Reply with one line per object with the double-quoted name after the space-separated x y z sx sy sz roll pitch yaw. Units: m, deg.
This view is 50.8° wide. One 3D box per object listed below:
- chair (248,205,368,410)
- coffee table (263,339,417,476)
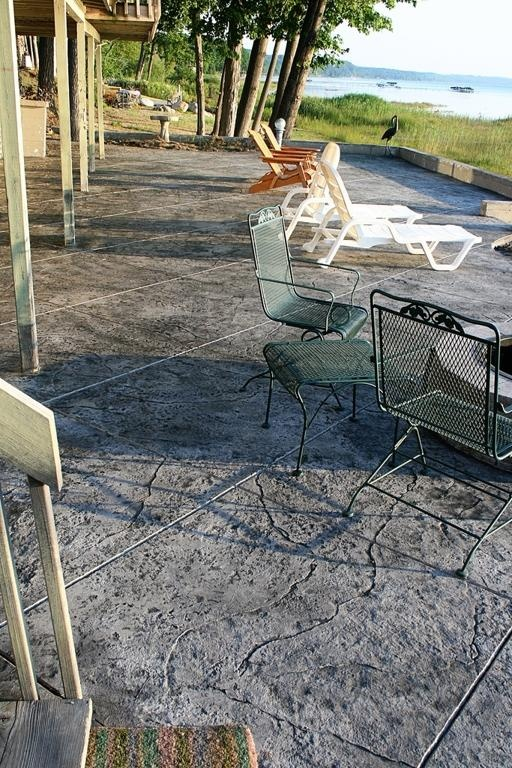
0.389 -0.593 3.934 0.829 1.200 0.755 14 28 18 "chair"
0.445 0.101 3.121 0.806 0.535 0.741 -9 26 -28 "coffee table"
